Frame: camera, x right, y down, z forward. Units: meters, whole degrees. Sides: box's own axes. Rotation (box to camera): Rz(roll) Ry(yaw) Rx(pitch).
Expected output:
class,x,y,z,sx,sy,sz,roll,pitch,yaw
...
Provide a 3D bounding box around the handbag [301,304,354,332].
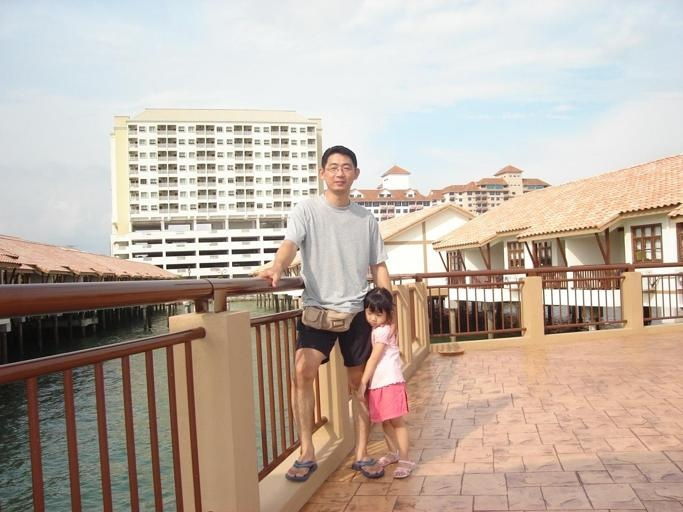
class,x,y,z,sx,sy,sz,roll,pitch,yaw
handbag,-0.116,0.525,4.684,0.437,0.226,0.118,-3,-2,-4

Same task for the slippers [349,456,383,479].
class,x,y,z,sx,sy,sz,roll,pitch,yaw
slippers,0.241,1.916,5.084,0.238,0.089,0.148,-1,-1,42

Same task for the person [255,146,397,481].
class,x,y,z,sx,sy,sz,roll,pitch,yaw
person,-0.080,0.511,4.821,0.709,2.925,1.230,-5,-3,29
